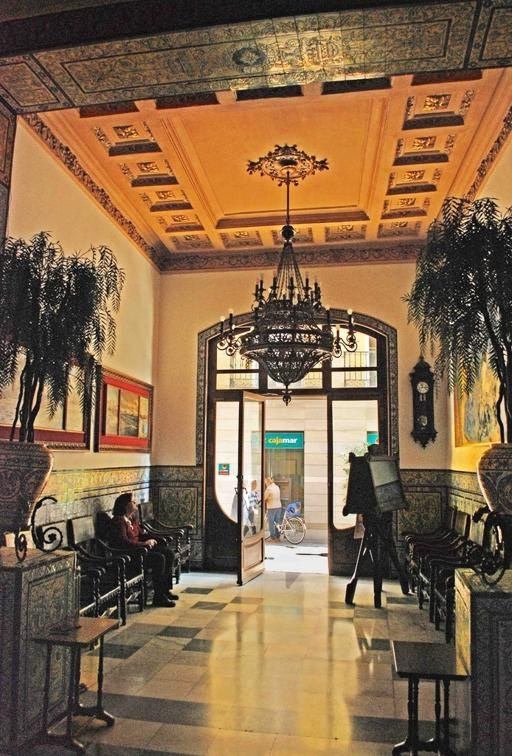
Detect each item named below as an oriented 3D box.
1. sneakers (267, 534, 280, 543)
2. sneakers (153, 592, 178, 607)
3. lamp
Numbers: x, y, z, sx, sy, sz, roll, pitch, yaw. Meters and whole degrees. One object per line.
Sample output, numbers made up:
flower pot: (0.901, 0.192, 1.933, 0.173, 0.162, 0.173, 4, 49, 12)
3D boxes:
sneakers: (0.405, 3.695, 12.229, 0.090, 0.277, 0.293, -10, 1, -27)
sneakers: (-1.101, 2.638, 6.344, 0.377, 0.165, 0.124, 0, -3, -3)
lamp: (0.343, -1.111, 5.801, 1.389, 2.592, 1.397, 1, -3, -2)
